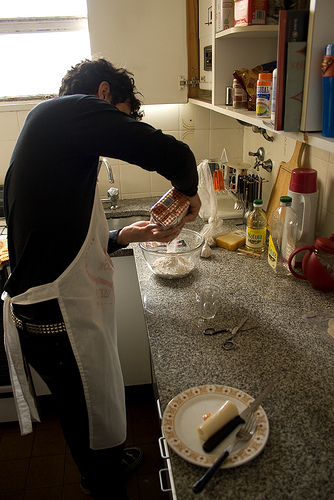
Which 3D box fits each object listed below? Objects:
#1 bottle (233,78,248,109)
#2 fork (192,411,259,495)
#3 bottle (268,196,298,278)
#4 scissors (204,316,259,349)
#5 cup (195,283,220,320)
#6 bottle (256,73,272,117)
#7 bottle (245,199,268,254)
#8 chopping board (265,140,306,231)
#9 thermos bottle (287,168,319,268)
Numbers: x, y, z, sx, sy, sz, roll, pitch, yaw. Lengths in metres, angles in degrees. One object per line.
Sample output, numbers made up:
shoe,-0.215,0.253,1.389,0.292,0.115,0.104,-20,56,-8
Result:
bottle,0.272,-0.604,1.378,0.064,0.103,0.066,-1,21,0
fork,0.103,0.316,0.573,0.026,0.045,0.209,14,27,35
bottle,0.432,-0.049,1.315,0.104,0.326,0.111,-2,30,1
scissors,0.179,0.218,0.958,0.148,0.011,0.116,-14,26,-30
cup,0.118,0.149,1.064,0.086,0.108,0.094,-1,12,0
bottle,0.294,-0.476,1.097,0.032,0.123,0.067,-13,23,-29
bottle,0.362,-0.095,1.453,0.078,0.219,0.100,3,21,12
chopping board,0.501,-0.299,1.540,0.067,0.273,0.204,-1,27,-6
thermos bottle,0.475,-0.143,1.264,0.100,0.265,0.054,7,21,20
